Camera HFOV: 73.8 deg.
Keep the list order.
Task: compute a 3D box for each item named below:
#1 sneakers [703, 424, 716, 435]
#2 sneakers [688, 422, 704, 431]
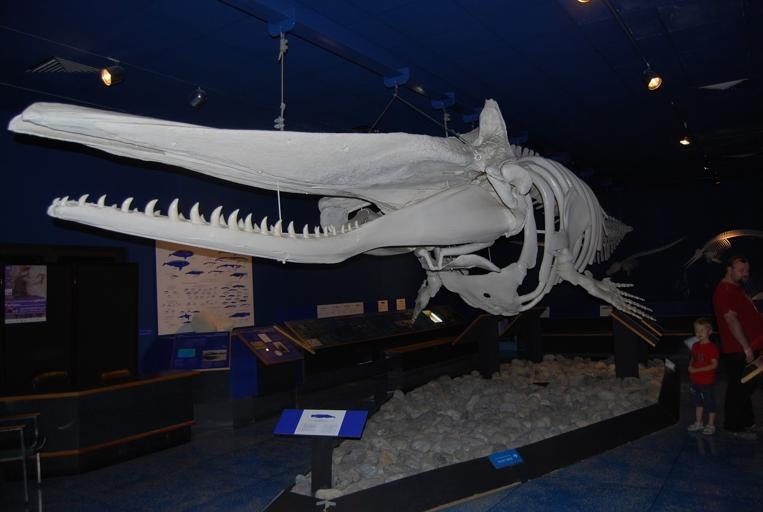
[{"bbox_3d":[3.335,1.787,5.178,0.074,0.068,0.188,-13,-17,39],"label":"sneakers"},{"bbox_3d":[3.236,1.777,5.262,0.188,0.070,0.077,6,-11,-32],"label":"sneakers"}]
